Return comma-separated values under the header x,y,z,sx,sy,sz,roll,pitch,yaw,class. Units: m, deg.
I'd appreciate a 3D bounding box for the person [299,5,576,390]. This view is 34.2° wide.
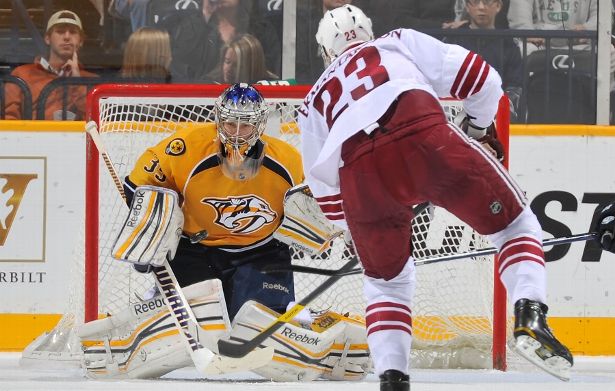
x,y,z,sx,sy,sz,roll,pitch,yaw,class
0.609,0.074,5.316,1.372,1.889,0.649,1,10,4,person

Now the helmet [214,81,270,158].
x,y,z,sx,sy,sz,roll,pitch,yaw,class
-0.411,-0.455,6.022,0.373,0.421,0.419,11,33,-11,helmet

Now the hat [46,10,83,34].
x,y,z,sx,sy,sz,roll,pitch,yaw,class
-1.745,-1.265,7.179,0.172,0.100,0.207,2,-17,-14,hat

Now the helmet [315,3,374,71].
x,y,z,sx,sy,sz,roll,pitch,yaw,class
0.213,-0.914,5.718,0.342,0.315,0.360,-9,23,6,helmet
